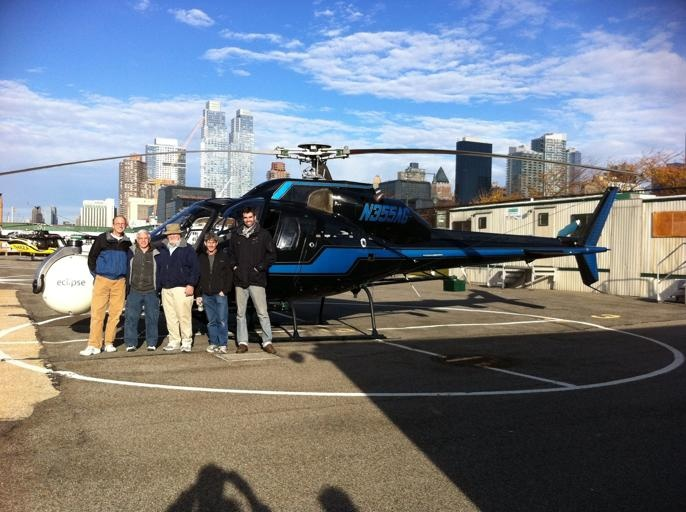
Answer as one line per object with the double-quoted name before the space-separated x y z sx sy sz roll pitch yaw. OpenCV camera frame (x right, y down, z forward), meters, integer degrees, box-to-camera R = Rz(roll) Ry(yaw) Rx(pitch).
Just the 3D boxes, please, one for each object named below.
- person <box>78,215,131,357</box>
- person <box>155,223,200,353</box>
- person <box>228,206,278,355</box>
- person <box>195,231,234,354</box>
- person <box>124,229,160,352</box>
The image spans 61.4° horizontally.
"person" -4.136 0.451 10.107 0.791 2.305 1.140 -3 -5 30
"person" -2.965 0.574 10.398 0.732 2.268 0.476 3 7 0
"person" -1.630 0.418 10.515 0.827 2.577 0.695 2 7 -11
"person" -2.341 0.666 10.702 0.912 2.082 0.643 -10 -9 33
"person" -3.624 0.626 10.524 0.839 1.907 0.806 3 7 -29
